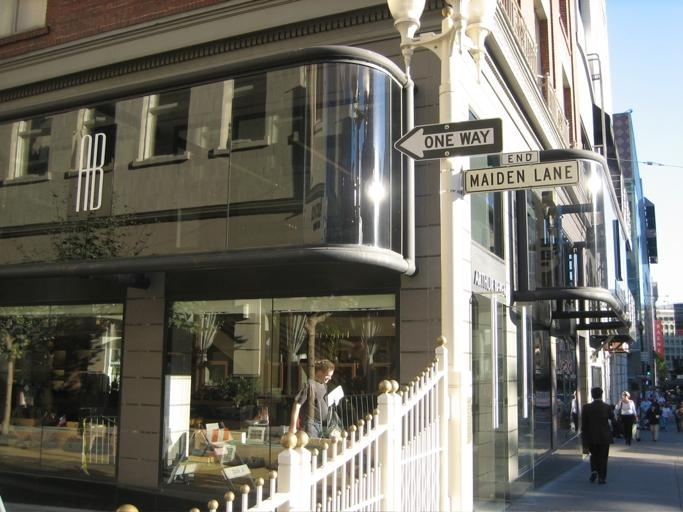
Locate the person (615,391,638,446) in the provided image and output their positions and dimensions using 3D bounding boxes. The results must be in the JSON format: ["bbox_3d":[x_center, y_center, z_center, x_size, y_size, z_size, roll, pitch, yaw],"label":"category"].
[{"bbox_3d":[9.070,5.242,27.901,0.683,1.708,0.437,-4,2,-1],"label":"person"}]

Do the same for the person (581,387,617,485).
[{"bbox_3d":[5.795,4.052,19.693,0.708,2.094,1.281,-5,-11,15],"label":"person"}]

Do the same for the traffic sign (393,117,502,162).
[{"bbox_3d":[1.570,-1.677,12.811,1.603,0.728,0.064,-5,-36,12],"label":"traffic sign"}]

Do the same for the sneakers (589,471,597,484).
[{"bbox_3d":[5.607,4.933,19.433,0.111,0.210,0.283,2,3,17],"label":"sneakers"}]

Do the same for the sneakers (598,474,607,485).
[{"bbox_3d":[5.693,4.903,19.050,0.156,0.210,0.459,-4,-9,23],"label":"sneakers"}]

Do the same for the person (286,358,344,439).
[{"bbox_3d":[-0.428,2.637,15.786,0.662,1.949,0.846,-12,-18,35],"label":"person"}]
